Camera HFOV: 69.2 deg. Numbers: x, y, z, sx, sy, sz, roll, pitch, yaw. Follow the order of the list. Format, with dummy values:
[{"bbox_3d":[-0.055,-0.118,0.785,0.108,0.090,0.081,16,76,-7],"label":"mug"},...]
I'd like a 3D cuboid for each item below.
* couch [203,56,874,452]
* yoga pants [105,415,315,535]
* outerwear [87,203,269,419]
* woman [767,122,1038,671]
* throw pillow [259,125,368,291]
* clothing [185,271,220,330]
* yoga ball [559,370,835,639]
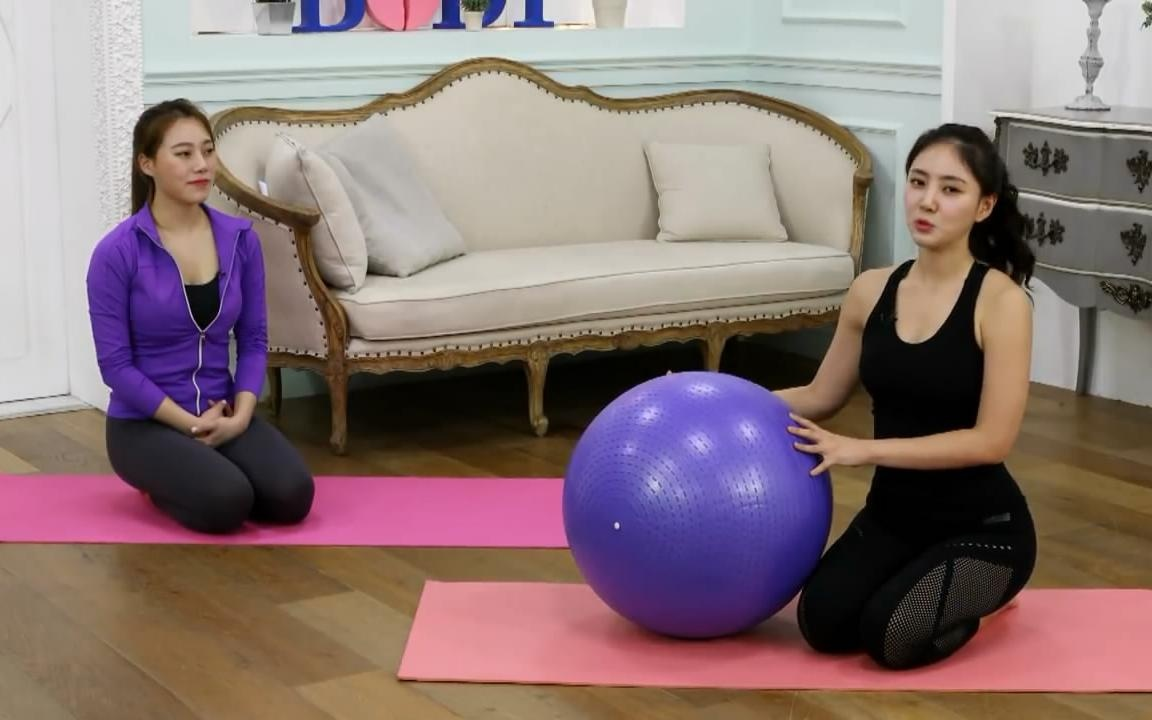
[{"bbox_3d":[-0.009,-0.617,4.083,3.282,1.755,1.284,-9,14,-28],"label":"couch"},{"bbox_3d":[-1.306,0.307,2.907,0.635,0.232,0.380,23,29,38],"label":"yoga pants"},{"bbox_3d":[-1.394,-0.177,2.958,0.664,0.861,0.467,-10,18,-42],"label":"outerwear"},{"bbox_3d":[0.915,0.089,2.231,0.645,1.351,0.697,3,20,16],"label":"woman"},{"bbox_3d":[-1.106,-0.611,3.495,0.283,0.487,0.575,-10,35,-19],"label":"throw pillow"},{"bbox_3d":[-1.300,-0.208,2.934,0.095,0.175,0.110,-10,11,-22],"label":"clothing"},{"bbox_3d":[0.340,0.295,2.336,0.644,0.703,0.640,-1,4,0],"label":"yoga ball"}]
